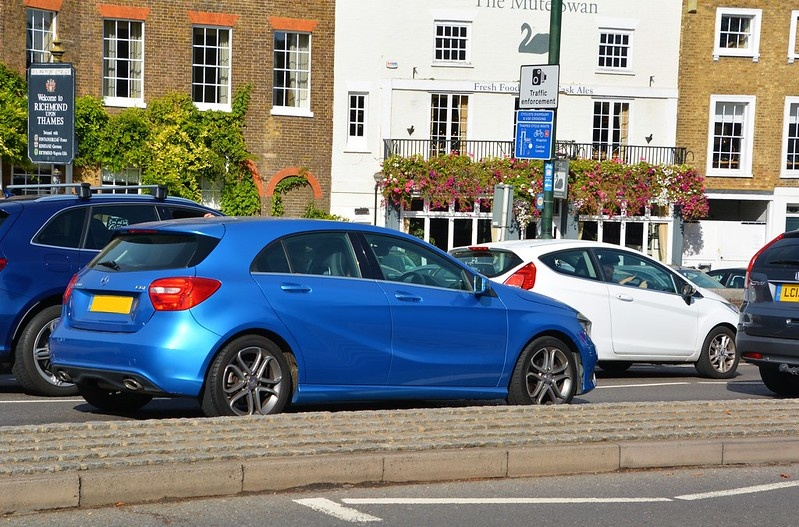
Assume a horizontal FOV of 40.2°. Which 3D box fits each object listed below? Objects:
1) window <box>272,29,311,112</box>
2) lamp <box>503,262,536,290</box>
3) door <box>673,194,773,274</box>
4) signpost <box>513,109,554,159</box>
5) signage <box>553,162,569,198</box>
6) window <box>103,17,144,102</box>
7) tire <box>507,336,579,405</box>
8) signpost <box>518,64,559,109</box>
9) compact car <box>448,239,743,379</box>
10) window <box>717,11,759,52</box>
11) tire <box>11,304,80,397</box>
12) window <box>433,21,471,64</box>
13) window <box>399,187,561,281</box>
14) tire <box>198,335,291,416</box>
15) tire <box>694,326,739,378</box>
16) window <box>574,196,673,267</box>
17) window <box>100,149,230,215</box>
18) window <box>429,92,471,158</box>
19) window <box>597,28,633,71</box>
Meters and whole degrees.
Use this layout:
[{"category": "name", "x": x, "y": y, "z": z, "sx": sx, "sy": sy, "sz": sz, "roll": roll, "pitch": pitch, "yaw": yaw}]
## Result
[{"category": "window", "x": -3.331, "y": -6.056, "z": 34.108, "sx": 1.299, "sy": 2.332, "sz": 0.447, "roll": 6, "pitch": 7, "yaw": -9}, {"category": "lamp", "x": 1.884, "y": 0.203, "z": 16.749, "sx": 0.291, "sy": 0.269, "sz": 0.526, "roll": 3, "pitch": 6, "yaw": 37}, {"category": "door", "x": 10.354, "y": -0.952, "z": 34.523, "sx": 2.516, "sy": 2.259, "sz": 0.258, "roll": 1, "pitch": -1, "yaw": -2}, {"category": "signpost", "x": 2.998, "y": -2.793, "z": 23.468, "sx": 1.072, "sy": 1.308, "sz": 0.141, "roll": 3, "pitch": 0, "yaw": 36}, {"category": "signage", "x": 3.684, "y": -1.927, "z": 24.811, "sx": 0.499, "sy": 0.890, "sz": 0.094, "roll": 5, "pitch": -3, "yaw": -5}, {"category": "window", "x": -8.376, "y": -6.153, "z": 32.844, "sx": 1.286, "sy": 2.341, "sz": 0.577, "roll": 5, "pitch": 7, "yaw": -18}, {"category": "tire", "x": 1.891, "y": 1.377, "z": 14.351, "sx": 0.735, "sy": 0.751, "sz": 0.238, "roll": 17, "pitch": -2, "yaw": -30}, {"category": "signpost", "x": 3.079, "y": -3.784, "z": 23.383, "sx": 1.074, "sy": 1.124, "sz": 0.078, "roll": 3, "pitch": 0, "yaw": 37}, {"category": "compact car", "x": 3.536, "y": 0.582, "z": 18.206, "sx": 4.069, "sy": 1.801, "sz": 2.329, "roll": 0, "pitch": -1, "yaw": -24}, {"category": "window", "x": 11.595, "y": -7.816, "z": 36.965, "sx": 1.339, "sy": 1.337, "sz": 0.155, "roll": 0, "pitch": 6, "yaw": -11}, {"category": "tire", "x": -4.662, "y": 1.056, "z": 14.247, "sx": 1.156, "sy": 1.184, "sz": 0.380, "roll": -5, "pitch": 7, "yaw": -31}, {"category": "window", "x": 1.751, "y": -7.196, "z": 35.399, "sx": 1.275, "sy": 1.176, "sz": 0.220, "roll": -3, "pitch": 6, "yaw": -13}, {"category": "window", "x": 1.808, "y": -0.869, "z": 24.732, "sx": 4.335, "sy": 2.360, "sz": 2.510, "roll": -1, "pitch": 3, "yaw": -38}, {"category": "tire", "x": -1.684, "y": 1.389, "z": 13.121, "sx": 1.025, "sy": 1.069, "sz": 0.400, "roll": -4, "pitch": 2, "yaw": 19}, {"category": "tire", "x": 5.387, "y": 1.423, "z": 18.256, "sx": 0.768, "sy": 0.785, "sz": 0.247, "roll": -17, "pitch": 20, "yaw": -30}, {"category": "window", "x": 6.395, "y": -1.062, "z": 30.818, "sx": 2.204, "sy": 1.395, "sz": 0.167, "roll": 1, "pitch": 6, "yaw": -12}, {"category": "window", "x": -5.947, "y": -2.179, "z": 27.152, "sx": 2.534, "sy": 1.493, "sz": 0.117, "roll": 10, "pitch": -2, "yaw": -13}, {"category": "window", "x": 1.706, "y": -4.379, "z": 35.578, "sx": 1.330, "sy": 2.381, "sz": 0.063, "roll": 1, "pitch": -9, "yaw": 4}, {"category": "window", "x": 7.297, "y": -7.145, "z": 36.344, "sx": 1.235, "sy": 1.146, "sz": 0.142, "roll": -6, "pitch": 7, "yaw": -12}]
